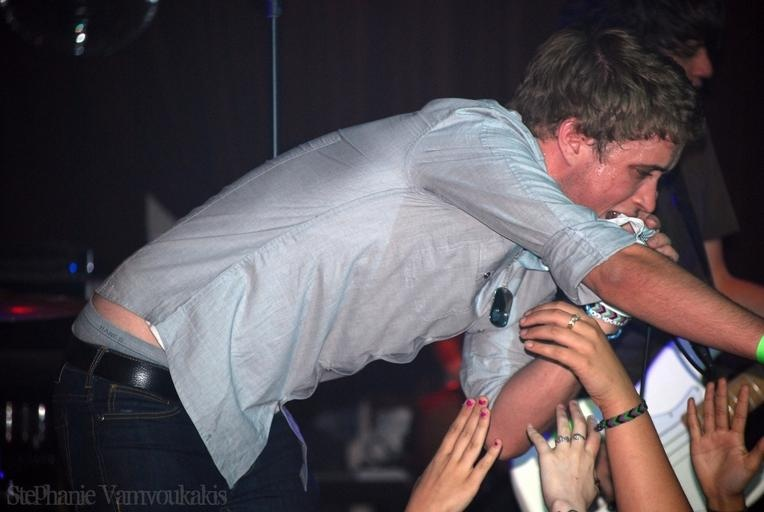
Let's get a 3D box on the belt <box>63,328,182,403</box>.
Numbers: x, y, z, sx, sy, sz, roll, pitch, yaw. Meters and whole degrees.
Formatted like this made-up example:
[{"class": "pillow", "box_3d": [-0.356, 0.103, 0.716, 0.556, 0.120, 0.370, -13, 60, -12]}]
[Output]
[{"class": "belt", "box_3d": [-0.743, 0.337, 2.271, 0.335, 0.085, 0.348, -1, -34, 28]}]
